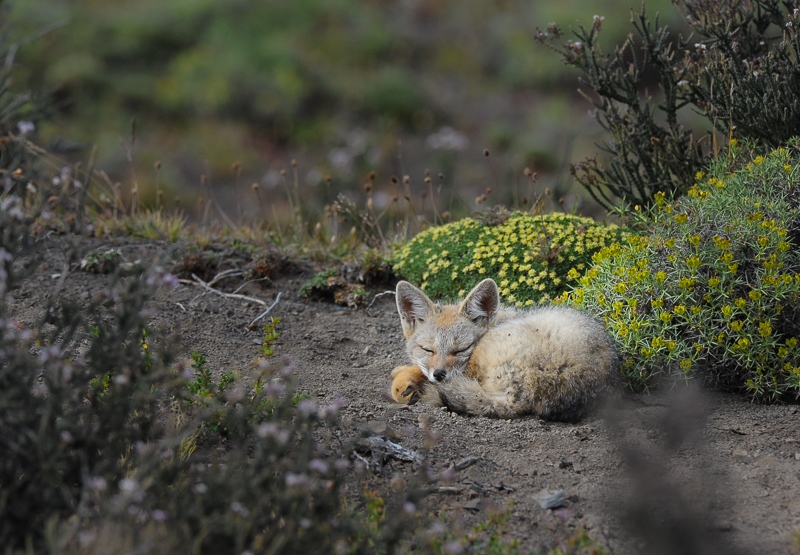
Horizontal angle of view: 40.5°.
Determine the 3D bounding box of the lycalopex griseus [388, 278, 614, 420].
[{"bbox_3d":[0.993,0.671,9.974,1.997,0.623,1.118,1,50,8],"label":"lycalopex griseus"}]
